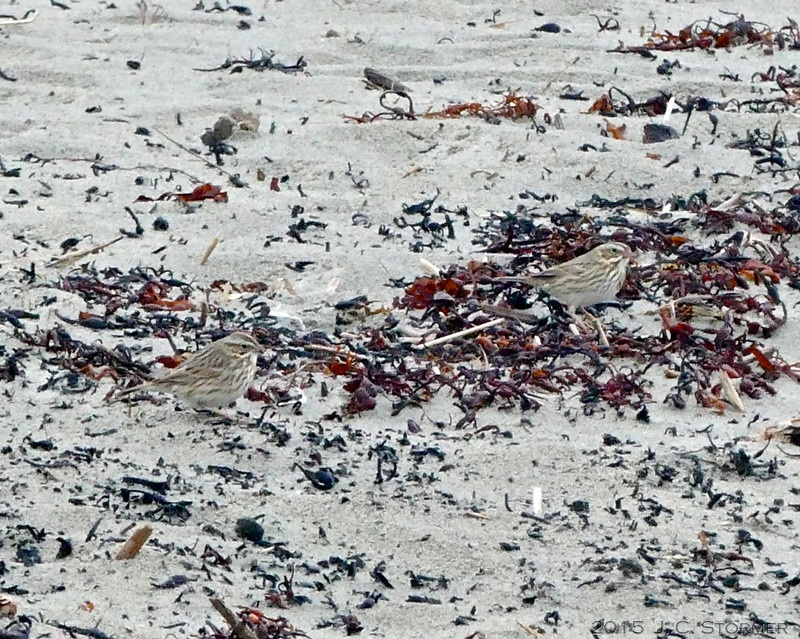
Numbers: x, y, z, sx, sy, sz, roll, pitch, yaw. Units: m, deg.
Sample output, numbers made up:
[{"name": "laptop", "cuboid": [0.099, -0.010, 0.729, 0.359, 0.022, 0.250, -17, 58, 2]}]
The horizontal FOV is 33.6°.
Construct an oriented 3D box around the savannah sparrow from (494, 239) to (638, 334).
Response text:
[{"name": "savannah sparrow", "cuboid": [1.102, -0.233, 8.793, 0.713, 0.545, 0.716, 16, 51, 6]}]
